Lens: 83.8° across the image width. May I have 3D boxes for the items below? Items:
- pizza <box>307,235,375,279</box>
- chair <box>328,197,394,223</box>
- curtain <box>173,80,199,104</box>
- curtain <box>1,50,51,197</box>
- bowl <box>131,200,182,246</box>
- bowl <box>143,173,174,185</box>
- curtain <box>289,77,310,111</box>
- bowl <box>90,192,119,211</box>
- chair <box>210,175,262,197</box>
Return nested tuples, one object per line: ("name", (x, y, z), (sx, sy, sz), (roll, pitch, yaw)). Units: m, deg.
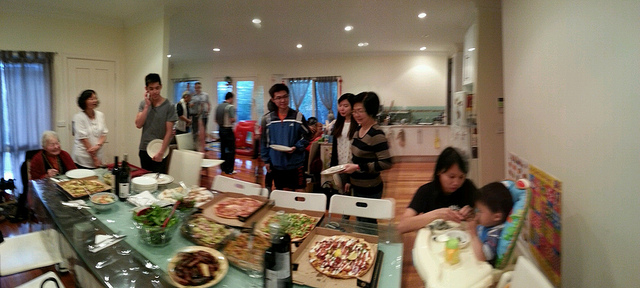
("pizza", (0.281, 1.466, 4.640), (0.835, 0.407, 0.375), (0, 10, 2))
("chair", (0.676, 0.955, 5.507), (0.784, 0.559, 0.537), (1, 1, 11))
("curtain", (-3.310, -1.260, 8.833), (1.178, 0.679, 0.044), (-1, -4, 35))
("curtain", (-6.415, -0.577, 7.788), (1.151, 2.861, 0.362), (-10, 15, -38))
("bowl", (-2.193, 1.059, 4.791), (0.598, 0.518, 0.322), (-2, 11, -10))
("bowl", (-2.507, 0.546, 5.641), (0.277, 0.053, 0.248), (15, 16, 9))
("curtain", (-0.642, -1.625, 11.449), (0.655, 1.034, 0.199), (0, 12, 2))
("bowl", (-3.077, 0.806, 5.116), (0.388, 0.113, 0.245), (1, 10, 0))
("chair", (-1.262, 0.684, 5.747), (0.473, 0.590, 0.445), (5, -12, 5))
